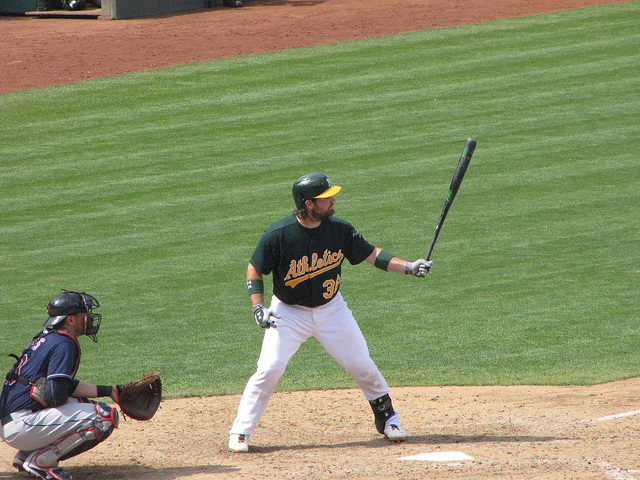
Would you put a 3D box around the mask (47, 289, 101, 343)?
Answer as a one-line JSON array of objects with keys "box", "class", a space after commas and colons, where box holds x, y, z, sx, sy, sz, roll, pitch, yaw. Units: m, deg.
[{"box": [-3.249, 0.981, 19.040, 0.781, 0.566, 0.548, 1, 0, -26], "class": "mask"}]

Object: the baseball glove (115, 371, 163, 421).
[{"box": [-2.344, 1.995, 19.356, 0.737, 0.292, 0.684, -2, 32, 48], "class": "baseball glove"}]

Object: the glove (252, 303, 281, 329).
[{"box": [-0.734, 0.980, 19.043, 0.358, 0.252, 0.107, 20, 54, 26], "class": "glove"}]

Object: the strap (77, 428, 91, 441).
[{"box": [-3.017, 2.445, 18.795, 0.165, 0.124, 0.044, -4, 10, 24], "class": "strap"}]

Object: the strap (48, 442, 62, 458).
[{"box": [-3.374, 2.636, 18.780, 0.071, 0.150, 0.166, -28, -19, 4], "class": "strap"}]

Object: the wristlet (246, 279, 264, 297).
[{"box": [-0.855, 0.621, 19.291, 0.203, 0.225, 0.224, 0, 19, -5], "class": "wristlet"}]

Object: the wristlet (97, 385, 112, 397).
[{"box": [-2.760, 1.929, 19.071, 0.173, 0.152, 0.135, 4, 54, 11], "class": "wristlet"}]

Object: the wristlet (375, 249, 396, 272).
[{"box": [0.817, 0.295, 19.542, 0.209, 0.265, 0.273, 34, -16, 9], "class": "wristlet"}]
